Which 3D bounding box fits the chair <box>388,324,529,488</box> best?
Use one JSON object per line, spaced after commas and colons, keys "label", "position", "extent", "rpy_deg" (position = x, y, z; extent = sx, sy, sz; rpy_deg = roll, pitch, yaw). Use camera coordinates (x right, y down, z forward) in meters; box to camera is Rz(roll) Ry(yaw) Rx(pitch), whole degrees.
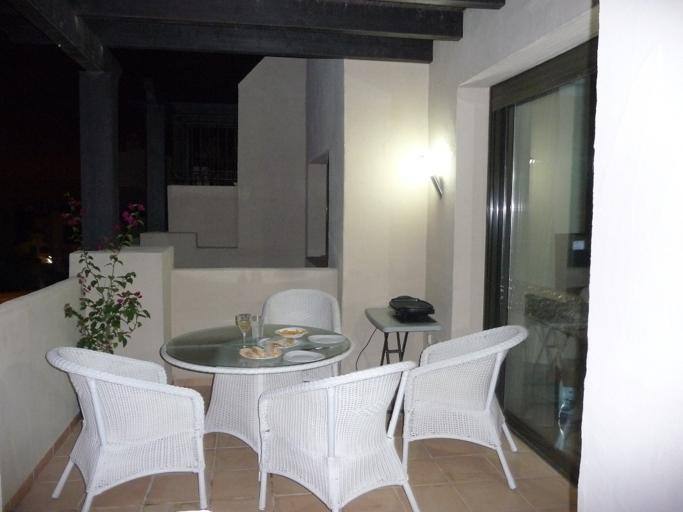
{"label": "chair", "position": [0.640, 0.756, 3.187], "extent": [0.759, 1.033, 0.861], "rpy_deg": [0, -3, 11]}

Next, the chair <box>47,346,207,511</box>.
{"label": "chair", "position": [-1.093, 0.634, 2.854], "extent": [0.805, 1.036, 0.749], "rpy_deg": [-2, 6, -30]}

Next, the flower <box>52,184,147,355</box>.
{"label": "flower", "position": [-1.716, 0.127, 3.910], "extent": [0.549, 1.174, 1.195], "rpy_deg": [-4, 6, -25]}

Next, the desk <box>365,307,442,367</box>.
{"label": "desk", "position": [0.443, 0.556, 4.133], "extent": [0.414, 0.634, 0.599], "rpy_deg": [1, 2, -11]}
